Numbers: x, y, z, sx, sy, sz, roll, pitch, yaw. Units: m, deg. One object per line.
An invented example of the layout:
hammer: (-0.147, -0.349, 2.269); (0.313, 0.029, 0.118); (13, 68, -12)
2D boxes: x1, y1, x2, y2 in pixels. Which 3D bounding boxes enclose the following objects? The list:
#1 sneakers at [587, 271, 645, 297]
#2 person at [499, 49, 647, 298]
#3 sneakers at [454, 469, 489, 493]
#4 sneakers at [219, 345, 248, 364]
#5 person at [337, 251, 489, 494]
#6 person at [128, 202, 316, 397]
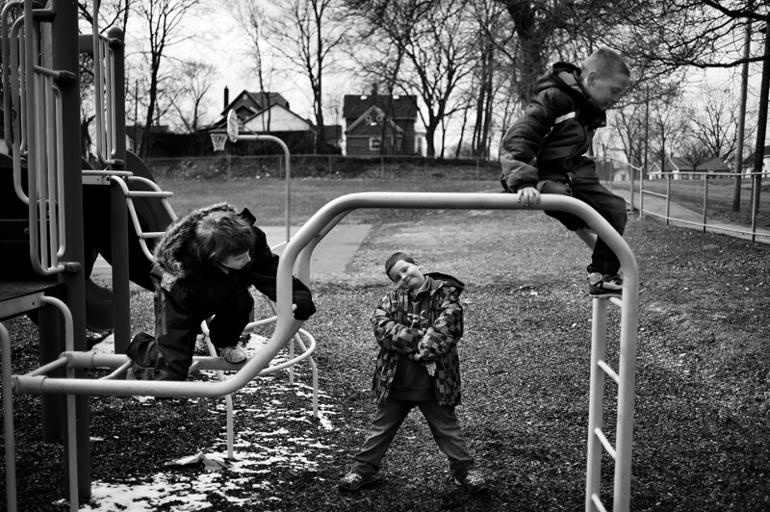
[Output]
sneakers: (1.442, 0.189, 4.924); (0.318, 0.149, 0.111); (1, 4, 6)
person: (1.180, -0.540, 5.002); (0.758, 1.497, 1.141); (13, 19, 43)
sneakers: (0.600, 1.521, 5.343); (0.270, 0.128, 0.111); (-3, -2, 39)
sneakers: (-0.929, 0.606, 4.860); (0.247, 0.099, 0.084); (-6, 8, 44)
person: (0.205, 0.786, 5.368); (0.932, 1.547, 0.470); (1, 14, 3)
person: (-1.043, 0.190, 4.845); (1.101, 1.010, 0.624); (-18, 27, -34)
